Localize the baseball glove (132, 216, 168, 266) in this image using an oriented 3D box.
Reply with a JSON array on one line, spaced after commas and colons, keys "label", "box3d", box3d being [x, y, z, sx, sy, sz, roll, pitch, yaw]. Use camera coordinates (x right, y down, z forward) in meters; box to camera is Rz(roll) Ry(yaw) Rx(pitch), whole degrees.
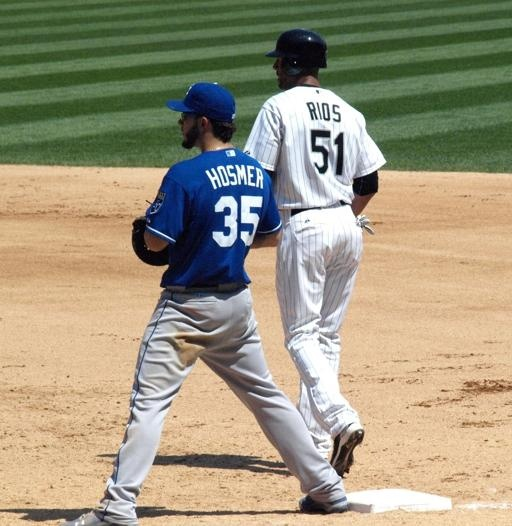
[{"label": "baseball glove", "box3d": [-0.712, -0.148, 9.532, 0.225, 0.313, 0.110, -11, 23, -4]}]
